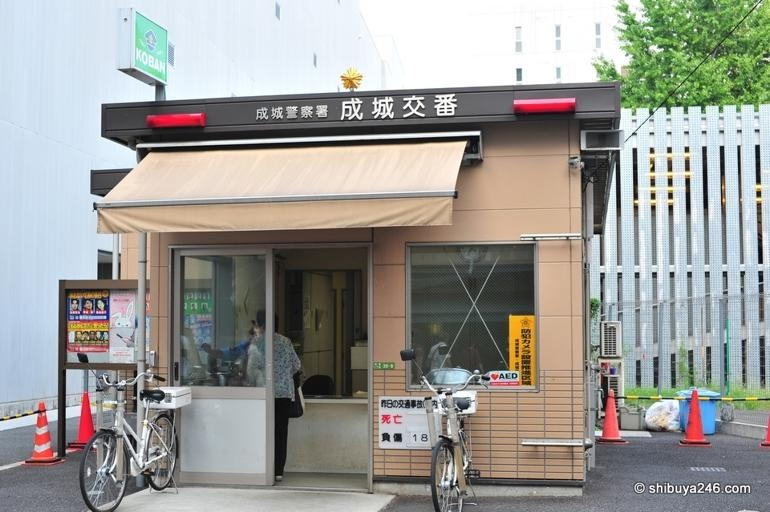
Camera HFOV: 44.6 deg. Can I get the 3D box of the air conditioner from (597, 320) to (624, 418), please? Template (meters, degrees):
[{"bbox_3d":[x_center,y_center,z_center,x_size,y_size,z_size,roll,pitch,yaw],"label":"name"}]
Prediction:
[{"bbox_3d":[5.406,2.466,22.584,0.714,2.996,1.035,1,2,16],"label":"air conditioner"}]
